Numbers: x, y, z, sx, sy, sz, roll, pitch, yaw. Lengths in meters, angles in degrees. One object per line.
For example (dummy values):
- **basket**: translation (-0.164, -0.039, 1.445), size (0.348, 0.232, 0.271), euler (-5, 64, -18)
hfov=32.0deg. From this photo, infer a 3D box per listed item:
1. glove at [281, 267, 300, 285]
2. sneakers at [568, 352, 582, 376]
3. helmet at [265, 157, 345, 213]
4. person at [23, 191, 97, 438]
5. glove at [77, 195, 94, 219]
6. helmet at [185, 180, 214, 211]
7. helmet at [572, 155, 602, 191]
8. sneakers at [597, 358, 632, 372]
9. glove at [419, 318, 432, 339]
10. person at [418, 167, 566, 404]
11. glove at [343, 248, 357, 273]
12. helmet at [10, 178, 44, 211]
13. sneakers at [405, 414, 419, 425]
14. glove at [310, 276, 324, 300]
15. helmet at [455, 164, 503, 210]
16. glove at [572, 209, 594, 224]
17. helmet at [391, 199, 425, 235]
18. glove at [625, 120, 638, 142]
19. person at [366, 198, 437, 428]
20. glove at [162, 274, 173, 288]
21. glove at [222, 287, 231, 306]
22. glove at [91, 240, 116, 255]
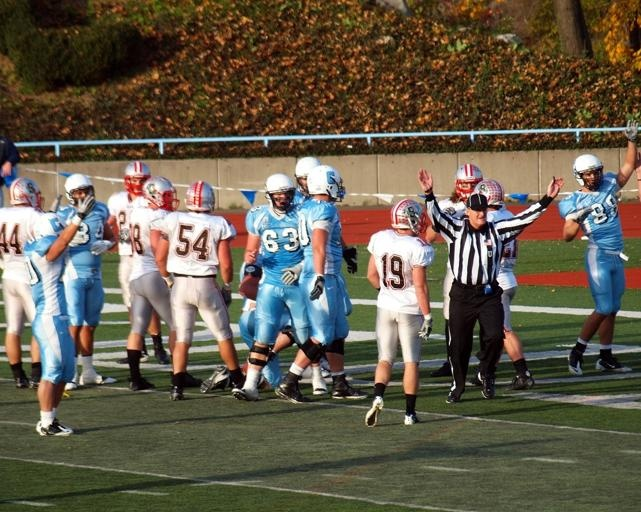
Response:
- **glove**: translation (-0.300, 0.203, 11.009), size (0.174, 0.161, 0.149), euler (0, 0, -2)
- **sneakers**: translation (2.761, 1.157, 12.151), size (0.153, 0.252, 0.271), euler (-1, 0, 12)
- **helmet**: translation (-0.088, -0.747, 11.482), size (0.667, 0.464, 0.458), euler (2, 6, 14)
- **person**: translation (-2.322, 0.529, 9.853), size (0.442, 2.099, 0.700), euler (0, -1, -35)
- **glove**: translation (-2.037, -0.428, 9.717), size (0.131, 0.059, 0.208), euler (10, 47, 31)
- **helmet**: translation (-1.231, -0.597, 11.326), size (0.276, 0.317, 0.291), euler (0, 0, -8)
- **helmet**: translation (3.012, -0.973, 12.641), size (0.288, 0.386, 0.675), euler (-1, 0, 13)
- **sneakers**: translation (3.199, 1.201, 12.221), size (0.362, 0.129, 0.129), euler (0, -1, 4)
- **glove**: translation (0.948, 0.655, 10.058), size (0.084, 0.169, 0.138), euler (18, -8, -35)
- **person**: translation (1.515, 0.320, 10.751), size (1.271, 2.235, 0.733), euler (0, 0, -9)
- **glove**: translation (0.277, 0.079, 11.868), size (0.098, 0.266, 0.194), euler (-12, 26, 9)
- **helmet**: translation (-3.074, -0.657, 11.531), size (0.287, 0.320, 0.398), euler (11, 21, 33)
- **sneakers**: translation (0.821, 1.477, 10.153), size (0.140, 0.103, 0.139), euler (0, 0, 1)
- **glove**: translation (-0.019, 0.300, 10.668), size (0.143, 0.227, 0.074), euler (25, -28, 13)
- **helmet**: translation (1.654, -0.725, 11.767), size (0.434, 0.421, 0.559), euler (-7, 14, -31)
- **glove**: translation (2.832, -0.438, 12.182), size (0.235, 0.182, 0.345), euler (0, 0, 12)
- **helmet**: translation (0.736, -0.369, 10.415), size (0.358, 0.298, 0.284), euler (-9, 18, -19)
- **glove**: translation (3.614, -1.457, 13.023), size (0.168, 0.241, 0.061), euler (10, -39, -6)
- **person**: translation (0.715, 0.506, 10.274), size (0.617, 2.044, 0.995), euler (0, 0, 5)
- **glove**: translation (-1.568, 0.287, 11.466), size (0.073, 0.196, 0.085), euler (17, 48, 18)
- **glove**: translation (-0.970, 0.411, 11.352), size (0.084, 0.193, 0.177), euler (0, 0, 5)
- **glove**: translation (-2.321, -0.086, 11.889), size (0.118, 0.070, 0.332), euler (-13, 6, 15)
